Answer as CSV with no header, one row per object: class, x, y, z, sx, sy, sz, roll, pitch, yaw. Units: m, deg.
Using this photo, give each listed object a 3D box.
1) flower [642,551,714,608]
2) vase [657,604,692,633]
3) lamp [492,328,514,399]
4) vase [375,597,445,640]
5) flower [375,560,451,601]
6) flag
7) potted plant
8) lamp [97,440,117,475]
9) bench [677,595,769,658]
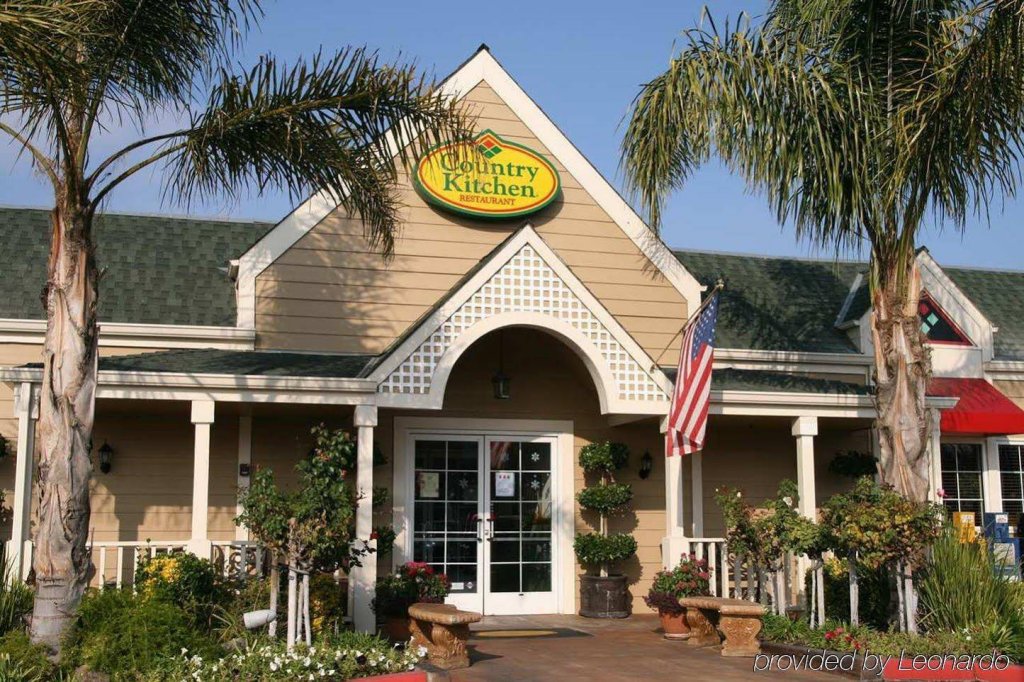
flower,2.890,4.218,23.658,0.853,0.816,0.927,7,2,7
vase,2.762,4.804,23.381,0.433,0.432,0.455,-6,-18,23
lamp,-0.217,0.491,25.676,0.349,1.248,0.753,2,-15,-1
vase,-1.864,4.829,23.327,0.811,0.674,0.799,-2,-11,18
flower,-1.669,4.195,23.426,0.793,0.586,0.722,2,6,-5
flag,3.082,0.517,23.274,0.470,2.661,1.436,6,-16,-16
potted plant,1.736,3.540,25.742,1.145,3.383,0.967,1,-15,2
lamp,-7.330,2.093,24.429,0.287,0.564,0.305,4,-15,-9
bench,3.534,4.721,22.509,0.784,1.017,1.428,14,-20,-38
